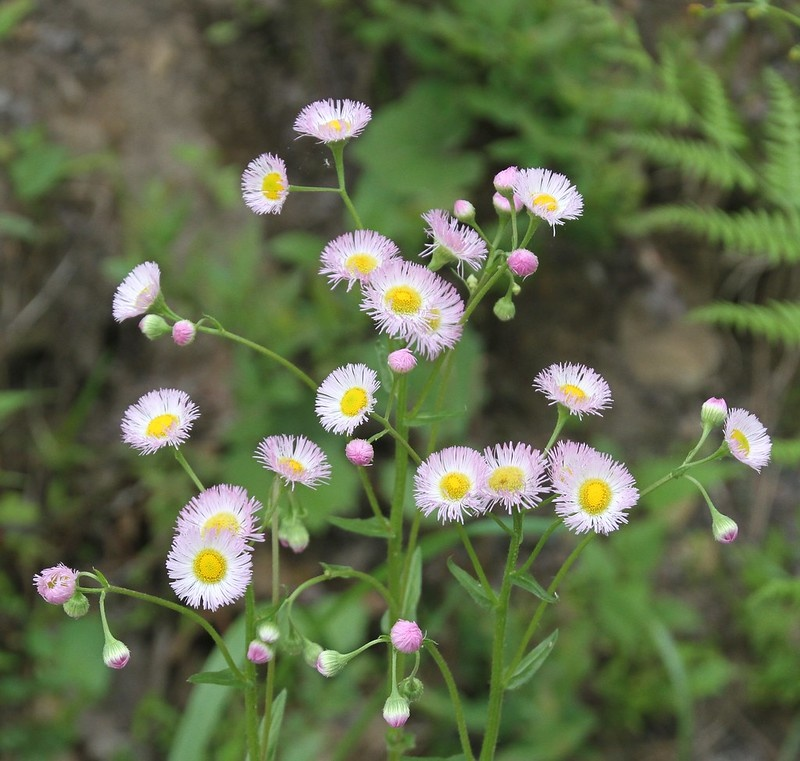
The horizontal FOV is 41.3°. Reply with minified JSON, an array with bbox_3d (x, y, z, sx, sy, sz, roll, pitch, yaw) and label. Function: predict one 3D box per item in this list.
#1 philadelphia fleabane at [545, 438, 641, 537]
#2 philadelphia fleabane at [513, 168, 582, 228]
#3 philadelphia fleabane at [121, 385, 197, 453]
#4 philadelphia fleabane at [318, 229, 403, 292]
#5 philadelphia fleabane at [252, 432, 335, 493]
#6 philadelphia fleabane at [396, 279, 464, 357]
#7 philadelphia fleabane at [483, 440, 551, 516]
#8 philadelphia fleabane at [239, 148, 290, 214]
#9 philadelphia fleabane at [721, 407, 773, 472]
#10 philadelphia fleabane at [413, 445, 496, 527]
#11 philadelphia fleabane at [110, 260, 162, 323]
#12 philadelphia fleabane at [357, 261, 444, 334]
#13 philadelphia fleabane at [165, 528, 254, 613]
[{"bbox_3d":[0.365,0.210,2.023,0.169,0.109,0.172,7,77,7],"label":"philadelphia fleabane"},{"bbox_3d":[0.283,-0.382,2.135,0.124,0.128,0.063,1,81,48],"label":"philadelphia fleabane"},{"bbox_3d":[-0.472,0.074,2.100,0.134,0.122,0.061,-142,45,-57],"label":"philadelphia fleabane"},{"bbox_3d":[-0.075,-0.266,2.162,0.139,0.151,0.074,2,88,37],"label":"philadelphia fleabane"},{"bbox_3d":[-0.205,0.164,2.070,0.152,0.168,0.079,26,103,16],"label":"philadelphia fleabane"},{"bbox_3d":[0.074,-0.110,2.051,0.113,0.054,0.137,-19,52,28],"label":"philadelphia fleabane"},{"bbox_3d":[0.202,0.173,1.988,0.132,0.159,0.074,-5,109,-6],"label":"philadelphia fleabane"},{"bbox_3d":[-0.263,-0.395,2.190,0.112,0.047,0.128,33,110,35],"label":"philadelphia fleabane"},{"bbox_3d":[0.672,0.127,2.099,0.046,0.107,0.112,-21,32,49],"label":"philadelphia fleabane"},{"bbox_3d":[0.096,0.196,2.004,0.135,0.066,0.142,2,77,6],"label":"philadelphia fleabane"},{"bbox_3d":[-0.532,-0.186,2.201,0.090,0.120,0.153,-6,75,4],"label":"philadelphia fleabane"},{"bbox_3d":[0.000,-0.198,2.091,0.158,0.136,0.076,-10,79,45],"label":"philadelphia fleabane"},{"bbox_3d":[-0.352,0.321,1.968,0.120,0.136,0.059,7,103,-13],"label":"philadelphia fleabane"}]
